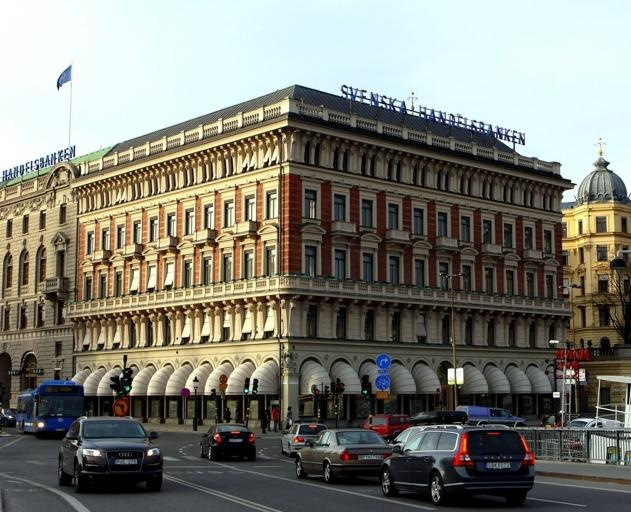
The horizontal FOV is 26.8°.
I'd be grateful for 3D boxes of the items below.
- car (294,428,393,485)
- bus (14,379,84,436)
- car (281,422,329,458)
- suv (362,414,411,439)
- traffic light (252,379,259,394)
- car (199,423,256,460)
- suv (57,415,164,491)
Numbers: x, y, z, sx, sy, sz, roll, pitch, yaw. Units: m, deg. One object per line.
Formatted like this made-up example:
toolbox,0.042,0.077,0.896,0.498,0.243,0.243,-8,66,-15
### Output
car,1.360,9.046,58.798,3.506,2.485,3.374,1,-10,-13
bus,-18.756,11.301,93.115,2.861,3.348,9.772,2,-14,-25
car,-0.518,10.199,72.132,2.424,1.892,2.201,1,-6,-21
suv,4.148,10.083,78.305,1.970,1.636,3.362,1,-1,-41
traffic light,-4.201,9.480,94.523,0.516,1.132,1.158,-2,0,-3
car,-4.453,9.912,69.312,2.504,1.999,2.190,2,-9,-21
suv,-8.537,8.275,54.948,3.814,3.119,3.158,3,-12,-19
